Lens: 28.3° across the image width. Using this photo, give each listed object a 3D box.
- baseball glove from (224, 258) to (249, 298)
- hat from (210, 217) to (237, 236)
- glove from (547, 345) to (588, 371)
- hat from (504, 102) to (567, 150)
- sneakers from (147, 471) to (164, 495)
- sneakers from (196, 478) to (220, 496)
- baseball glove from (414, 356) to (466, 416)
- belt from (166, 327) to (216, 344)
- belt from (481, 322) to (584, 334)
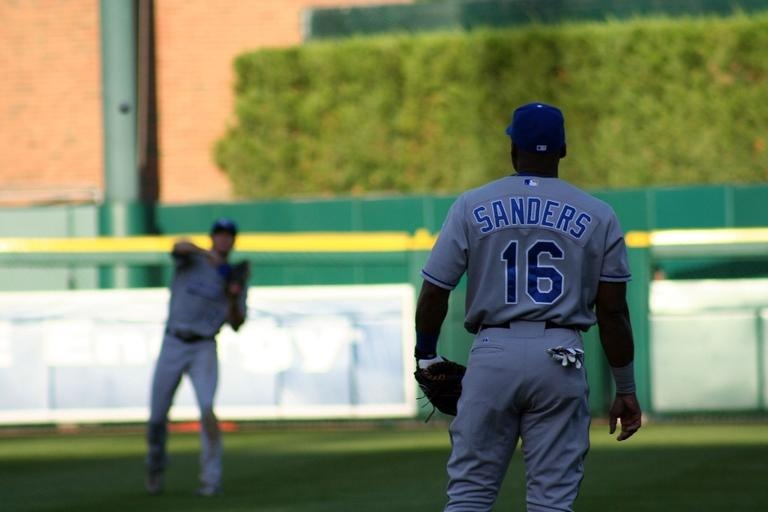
[{"bbox_3d":[-1.253,0.187,13.033,0.204,0.257,0.106,12,-3,0],"label":"baseball glove"},{"bbox_3d":[-1.373,-0.236,13.068,0.170,0.094,0.161,0,6,-12],"label":"hat"},{"bbox_3d":[1.328,0.734,11.067,0.223,0.105,0.171,12,2,-15],"label":"glove"},{"bbox_3d":[1.141,-0.984,11.506,0.458,0.311,0.609,3,10,-2],"label":"hat"},{"bbox_3d":[-1.946,1.925,12.940,0.148,0.196,0.094,-1,-4,-5],"label":"sneakers"},{"bbox_3d":[-1.496,1.961,12.976,0.134,0.133,0.155,-2,18,-29],"label":"sneakers"},{"bbox_3d":[0.439,0.968,11.561,0.331,0.246,0.606,11,12,-24],"label":"baseball glove"},{"bbox_3d":[-1.656,0.688,12.986,0.403,0.118,0.085,0,-4,-10],"label":"belt"},{"bbox_3d":[1.092,0.517,11.193,0.802,0.079,0.163,-1,-4,2],"label":"belt"}]
